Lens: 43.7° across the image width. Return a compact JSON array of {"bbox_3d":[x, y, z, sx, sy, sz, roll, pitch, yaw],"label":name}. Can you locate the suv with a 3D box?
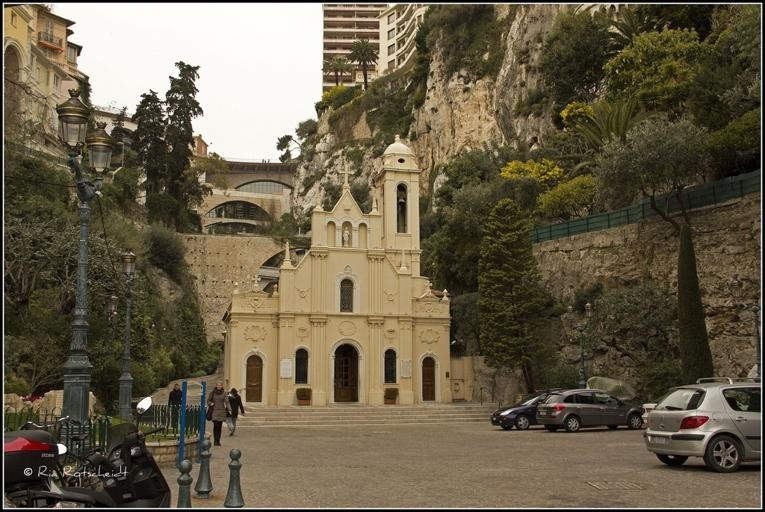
[{"bbox_3d":[13.064,6.943,39.197,4.875,3.658,3.708,4,-2,13],"label":"suv"}]
